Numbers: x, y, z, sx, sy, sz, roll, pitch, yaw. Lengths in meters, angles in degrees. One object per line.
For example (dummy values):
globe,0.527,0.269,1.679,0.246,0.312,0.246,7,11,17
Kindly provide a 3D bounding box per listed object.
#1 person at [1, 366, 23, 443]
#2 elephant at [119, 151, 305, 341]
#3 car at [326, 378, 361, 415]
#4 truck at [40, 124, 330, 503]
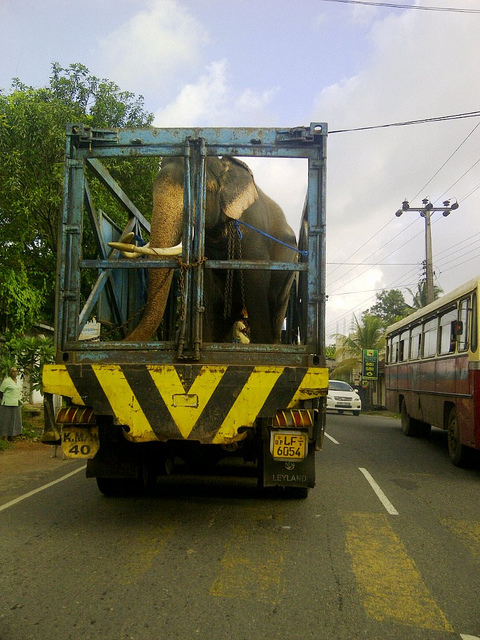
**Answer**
person,-4.303,1.603,11.346,0.383,1.467,0.770,2,-4,-22
elephant,-0.104,-0.699,6.435,0.834,2.221,2.614,6,3,44
car,3.891,2.916,22.601,1.151,1.314,2.520,0,-5,10
truck,0.095,0.127,5.581,3.297,3.258,2.166,0,-5,12
